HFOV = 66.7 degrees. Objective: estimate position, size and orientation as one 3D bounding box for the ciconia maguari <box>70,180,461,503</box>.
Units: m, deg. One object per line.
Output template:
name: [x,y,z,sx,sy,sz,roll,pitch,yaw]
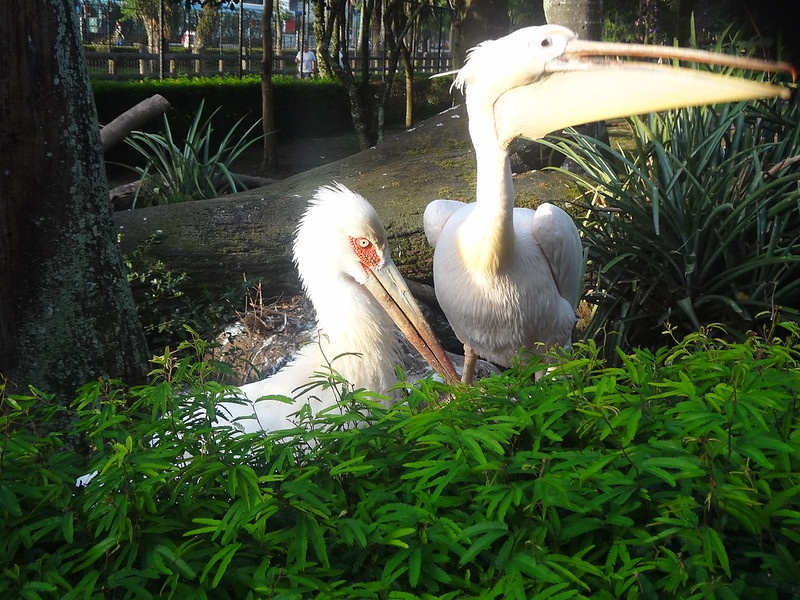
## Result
ciconia maguari: [-0.411,0.009,2.967,0.875,0.990,1.094,10,22,38]
